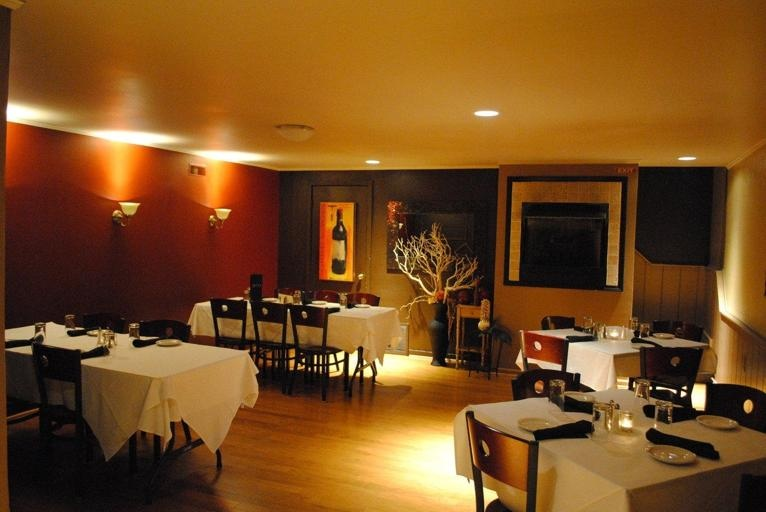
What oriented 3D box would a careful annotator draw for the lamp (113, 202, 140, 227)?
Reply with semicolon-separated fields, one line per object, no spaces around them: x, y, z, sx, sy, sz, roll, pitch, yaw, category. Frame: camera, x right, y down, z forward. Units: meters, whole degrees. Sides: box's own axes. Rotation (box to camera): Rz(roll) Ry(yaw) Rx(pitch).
-2.974;-0.470;6.737;0.262;0.299;0.312;-4;-5;41;lamp

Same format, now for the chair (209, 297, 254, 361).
-1.804;0.948;6.928;0.525;0.873;0.555;2;-4;-3;chair

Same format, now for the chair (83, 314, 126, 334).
-2.752;0.667;5.657;0.220;0.286;0.198;1;-6;-3;chair

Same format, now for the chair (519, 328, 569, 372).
1.511;0.927;5.460;0.392;0.465;0.786;4;9;13;chair

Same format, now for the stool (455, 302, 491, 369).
1.241;1.053;7.895;0.535;0.801;0.539;2;1;16;stool

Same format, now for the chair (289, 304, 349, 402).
-0.758;1.044;6.850;0.699;1.074;1.140;1;9;-7;chair

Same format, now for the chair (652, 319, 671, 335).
3.192;0.799;6.623;0.170;0.217;0.185;2;3;16;chair

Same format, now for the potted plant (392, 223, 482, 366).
0.850;0.565;8.287;1.320;2.140;0.736;6;15;35;potted plant

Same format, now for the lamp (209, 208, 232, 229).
-2.282;-0.518;7.976;0.280;0.232;0.240;-7;-1;17;lamp
